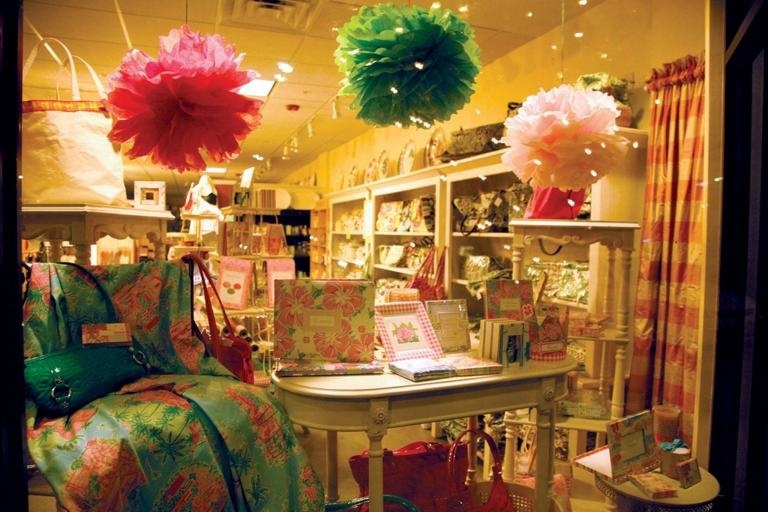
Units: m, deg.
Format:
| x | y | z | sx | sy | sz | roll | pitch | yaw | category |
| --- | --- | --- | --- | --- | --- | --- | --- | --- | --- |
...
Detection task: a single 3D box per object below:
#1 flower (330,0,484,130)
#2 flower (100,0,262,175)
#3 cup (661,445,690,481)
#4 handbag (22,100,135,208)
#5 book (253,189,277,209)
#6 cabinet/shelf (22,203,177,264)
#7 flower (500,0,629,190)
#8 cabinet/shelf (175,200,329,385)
| x | y | z | sx | sy | sz | roll | pitch | yaw | category |
| --- | --- | --- | --- | --- | --- | --- | --- | --- | --- |
| 0.074 | -0.771 | 2.385 | 0.528 | 0.310 | 0.514 | -9 | 39 | -19 | flower |
| -0.899 | -0.685 | 2.446 | 0.641 | 0.353 | 0.610 | -11 | 9 | 25 | flower |
| 1.404 | 1.002 | 2.733 | 0.128 | 0.139 | 0.141 | 0 | -8 | 0 | cup |
| -1.417 | -0.479 | 2.570 | 0.551 | 0.568 | 0.222 | -3 | 1 | -34 | handbag |
| -1.291 | -0.623 | 6.076 | 0.238 | 0.104 | 0.320 | -1 | 3 | -23 | book |
| -1.475 | -0.142 | 2.842 | 0.376 | 0.233 | 0.530 | 1 | 0 | 19 | cabinet/shelf |
| 0.894 | -0.653 | 2.703 | 0.568 | 0.754 | 0.601 | -1 | 1 | 27 | flower |
| -1.036 | 0.197 | 4.169 | 1.268 | 1.224 | 1.284 | 2 | -1 | -18 | cabinet/shelf |
